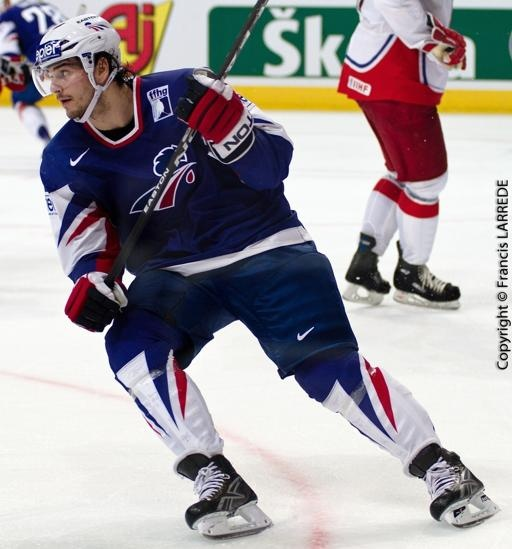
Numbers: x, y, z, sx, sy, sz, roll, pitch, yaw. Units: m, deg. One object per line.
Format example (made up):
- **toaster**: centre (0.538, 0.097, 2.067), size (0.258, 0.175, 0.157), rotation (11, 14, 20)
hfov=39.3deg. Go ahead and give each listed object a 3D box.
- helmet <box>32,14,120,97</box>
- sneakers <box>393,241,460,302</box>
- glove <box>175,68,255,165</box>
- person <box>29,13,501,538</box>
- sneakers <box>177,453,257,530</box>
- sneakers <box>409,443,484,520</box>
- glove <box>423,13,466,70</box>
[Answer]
- **helmet**: centre (-0.370, -0.460, 1.472), size (0.172, 0.142, 0.137), rotation (-34, 45, -30)
- **sneakers**: centre (0.642, 0.004, 2.613), size (0.279, 0.212, 0.092), rotation (12, 13, 40)
- **glove**: centre (-0.074, -0.296, 1.358), size (0.114, 0.190, 0.074), rotation (-50, 12, -3)
- **person**: centre (-0.043, -0.055, 1.309), size (0.601, 0.908, 0.750), rotation (-8, 14, -19)
- **sneakers**: centre (-0.070, 0.337, 1.126), size (0.139, 0.113, 0.049), rotation (4, -27, -43)
- **sneakers**: centre (0.300, 0.327, 1.139), size (0.136, 0.111, 0.045), rotation (-8, -28, -45)
- **glove**: centre (0.622, -0.757, 2.352), size (0.074, 0.173, 0.173), rotation (-43, 5, 9)
